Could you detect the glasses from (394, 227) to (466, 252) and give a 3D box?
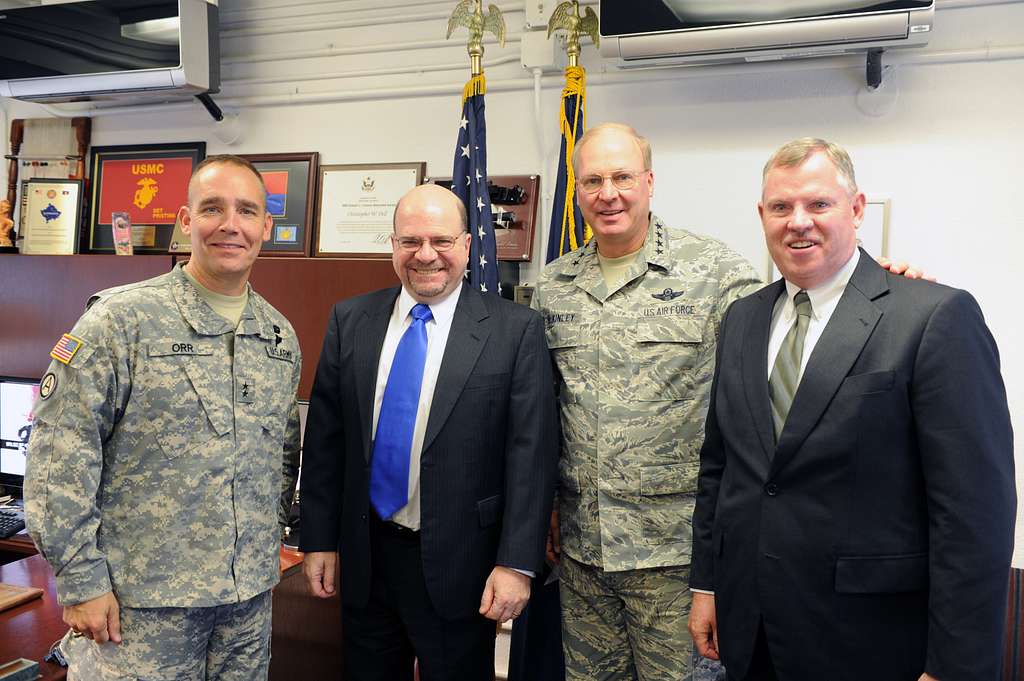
[{"bbox_3d":[-0.291,-0.342,2.823,0.261,0.074,0.080,0,1,-6],"label":"glasses"}]

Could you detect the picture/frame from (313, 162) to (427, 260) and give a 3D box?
[{"bbox_3d":[-0.723,-0.639,4.090,0.778,0.614,0.063,-1,-10,12],"label":"picture/frame"}]

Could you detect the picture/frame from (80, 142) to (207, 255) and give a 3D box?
[{"bbox_3d":[-2.244,-0.844,4.898,0.032,0.634,0.702,26,22,28],"label":"picture/frame"}]

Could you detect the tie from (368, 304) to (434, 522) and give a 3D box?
[{"bbox_3d":[-0.394,0.250,2.829,0.167,0.785,0.077,9,1,31],"label":"tie"}]

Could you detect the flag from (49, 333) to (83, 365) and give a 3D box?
[{"bbox_3d":[-1.417,0.027,2.553,0.067,0.093,0.123,-1,1,-42],"label":"flag"}]
